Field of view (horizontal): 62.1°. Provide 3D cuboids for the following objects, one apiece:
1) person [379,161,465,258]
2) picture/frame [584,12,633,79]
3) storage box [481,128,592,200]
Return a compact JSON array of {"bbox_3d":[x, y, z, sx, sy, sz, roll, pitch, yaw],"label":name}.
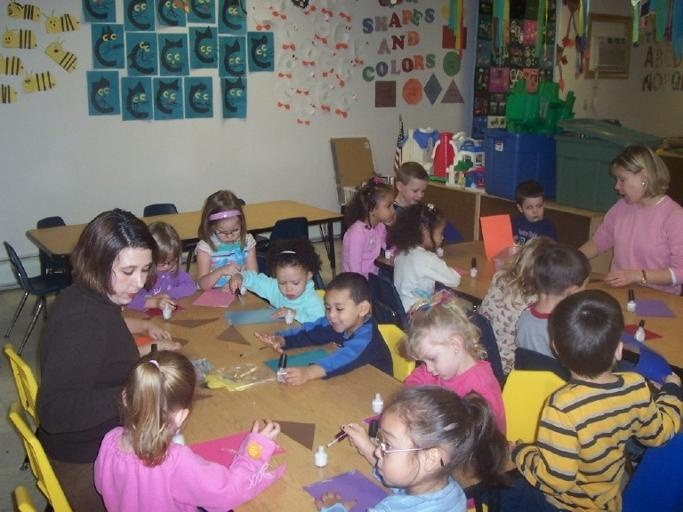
[{"bbox_3d":[0.652,-0.444,4.713,0.562,0.935,0.827,-10,19,-23],"label":"person"},{"bbox_3d":[4.029,-3.143,8.570,0.921,0.921,0.086,-7,11,-25],"label":"picture/frame"},{"bbox_3d":[1.716,-0.872,5.379,0.733,0.643,0.818,4,15,6],"label":"storage box"}]
